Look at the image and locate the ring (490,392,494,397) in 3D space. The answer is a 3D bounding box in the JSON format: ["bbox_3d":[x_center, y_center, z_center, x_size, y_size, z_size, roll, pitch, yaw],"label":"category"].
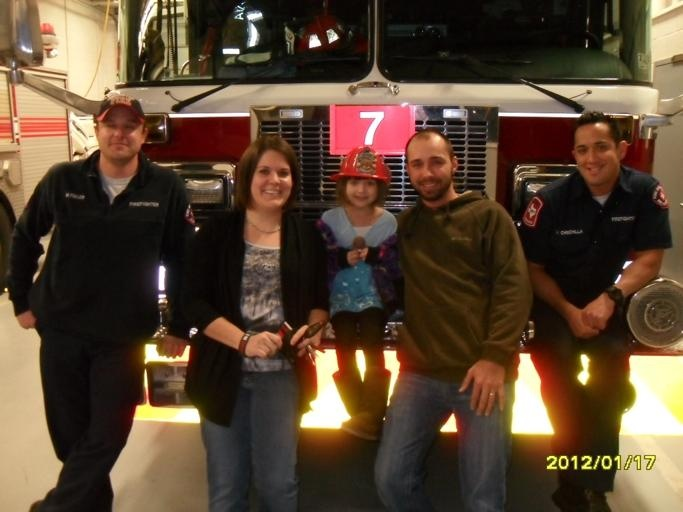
[{"bbox_3d":[0.732,0.672,2.851,0.022,0.021,0.005,5,6,8],"label":"ring"}]

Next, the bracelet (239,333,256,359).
[{"bbox_3d":[-0.467,0.433,2.890,0.069,0.113,0.112,10,19,19],"label":"bracelet"}]
